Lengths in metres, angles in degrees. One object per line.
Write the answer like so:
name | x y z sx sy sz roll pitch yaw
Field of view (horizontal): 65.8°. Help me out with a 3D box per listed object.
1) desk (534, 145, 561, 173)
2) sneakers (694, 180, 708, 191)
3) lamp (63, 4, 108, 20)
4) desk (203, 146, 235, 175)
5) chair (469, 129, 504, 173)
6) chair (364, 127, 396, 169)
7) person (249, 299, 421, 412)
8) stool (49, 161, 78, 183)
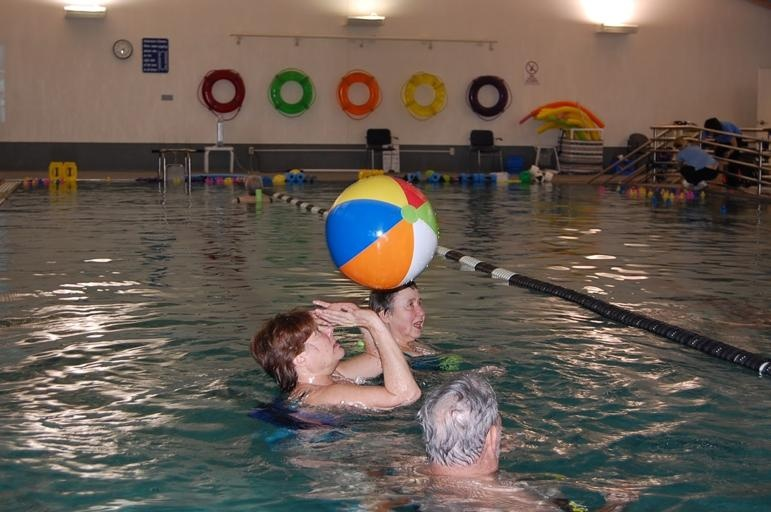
desk | 4.607 -2.875 16.988 0.840 0.611 0.735 -1 8 5
sneakers | 6.342 -1.450 11.972 0.324 0.112 0.128 -15 12 -42
lamp | -7.639 -6.296 15.087 0.655 0.177 0.549 0 9 -5
desk | -4.400 -2.577 15.630 1.014 0.612 0.937 3 7 21
chair | 2.848 -3.016 16.754 0.932 1.183 0.817 1 7 7
chair | -0.093 -2.968 16.264 0.825 1.193 0.858 0 7 1
person | -0.129 0.464 2.596 0.941 0.463 0.634 -4 0 7
stool | -7.547 -1.993 14.044 0.525 0.522 0.712 0 7 -1
